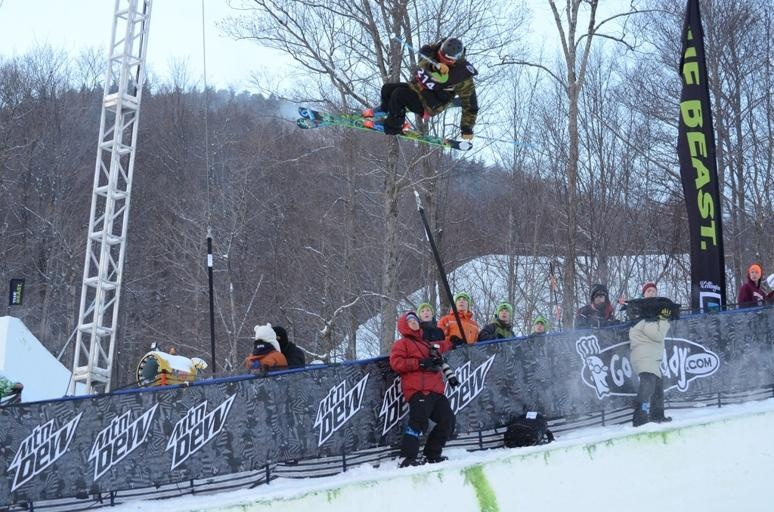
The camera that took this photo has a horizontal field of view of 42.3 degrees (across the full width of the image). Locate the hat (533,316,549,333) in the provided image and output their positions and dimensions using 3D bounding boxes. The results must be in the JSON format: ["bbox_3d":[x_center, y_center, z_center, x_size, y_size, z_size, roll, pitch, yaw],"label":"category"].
[{"bbox_3d":[4.151,1.862,27.232,0.332,0.463,0.470,10,-14,21],"label":"hat"}]

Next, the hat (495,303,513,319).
[{"bbox_3d":[3.139,1.386,26.586,0.355,0.416,0.419,4,-12,10],"label":"hat"}]

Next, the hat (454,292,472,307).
[{"bbox_3d":[2.042,1.077,26.803,0.452,0.394,0.629,0,-39,5],"label":"hat"}]

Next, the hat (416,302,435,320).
[{"bbox_3d":[1.028,1.461,25.798,0.326,0.422,0.433,-4,-34,-2],"label":"hat"}]

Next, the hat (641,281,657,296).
[{"bbox_3d":[7.032,0.926,26.828,0.380,0.505,0.532,0,-48,8],"label":"hat"}]

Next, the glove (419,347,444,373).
[{"bbox_3d":[1.153,2.603,24.972,0.205,0.552,0.522,-32,-73,32],"label":"glove"}]

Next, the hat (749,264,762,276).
[{"bbox_3d":[10.180,0.343,27.654,0.220,0.238,0.281,3,-20,9],"label":"hat"}]
